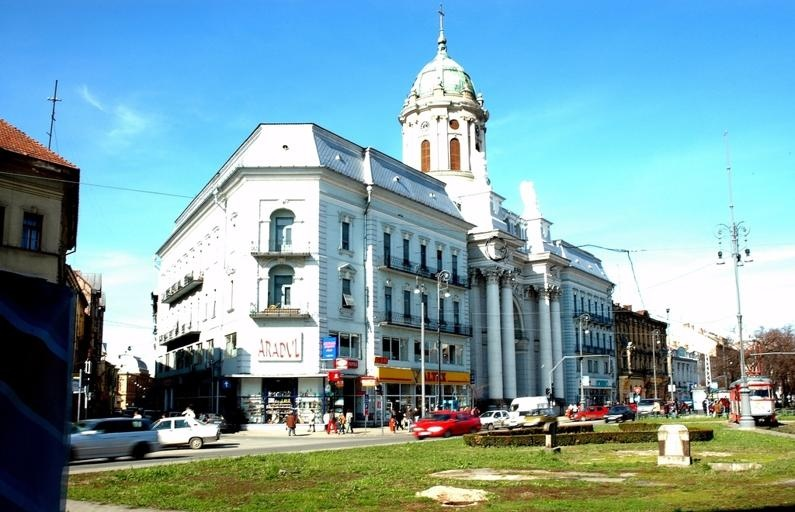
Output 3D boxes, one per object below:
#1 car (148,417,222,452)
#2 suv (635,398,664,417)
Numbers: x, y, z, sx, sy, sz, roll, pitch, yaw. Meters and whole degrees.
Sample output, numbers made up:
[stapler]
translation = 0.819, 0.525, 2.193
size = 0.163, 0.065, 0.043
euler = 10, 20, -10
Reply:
[car]
translation = -12.365, 9.482, 52.282
size = 5.013, 1.635, 2.085
euler = 2, -1, -25
[suv]
translation = 23.659, 14.201, 90.932
size = 1.794, 1.376, 3.178
euler = -2, -3, 26
